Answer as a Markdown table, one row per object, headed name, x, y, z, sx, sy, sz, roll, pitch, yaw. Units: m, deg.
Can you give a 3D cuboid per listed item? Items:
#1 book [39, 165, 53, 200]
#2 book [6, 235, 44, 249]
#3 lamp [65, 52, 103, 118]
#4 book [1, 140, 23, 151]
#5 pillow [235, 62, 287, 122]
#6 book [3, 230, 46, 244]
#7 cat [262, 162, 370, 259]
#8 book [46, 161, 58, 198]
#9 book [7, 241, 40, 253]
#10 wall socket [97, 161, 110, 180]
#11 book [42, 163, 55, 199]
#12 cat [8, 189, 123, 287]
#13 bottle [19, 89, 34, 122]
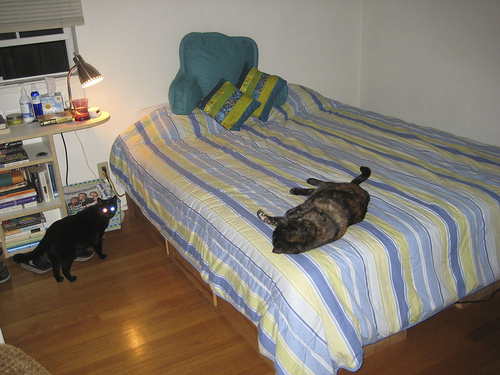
| name | x | y | z | sx | sy | sz | roll | pitch | yaw |
| --- | --- | --- | --- | --- | --- | --- | --- | --- | --- |
| book | -1.575 | -0.053 | 3.222 | 0.032 | 0.293 | 0.224 | -20 | 20 | -31 |
| book | -1.722 | 0.412 | 3.184 | 0.164 | 0.037 | 0.150 | -7 | 5 | 15 |
| lamp | -1.308 | -0.799 | 3.256 | 0.286 | 0.465 | 0.389 | -9 | 23 | -23 |
| book | -1.778 | -0.312 | 3.114 | 0.160 | 0.026 | 0.027 | -22 | 41 | -27 |
| pillow | 0.064 | -0.825 | 3.683 | 0.443 | 0.445 | 0.120 | 29 | -19 | 3 |
| book | -1.705 | 0.374 | 3.181 | 0.145 | 0.034 | 0.147 | -14 | 4 | 36 |
| cat | 0.378 | 0.141 | 2.181 | 0.559 | 0.164 | 0.313 | -32 | 63 | -30 |
| book | -1.528 | -0.074 | 3.228 | 0.029 | 0.288 | 0.218 | -21 | 26 | -26 |
| book | -1.705 | 0.440 | 3.131 | 0.224 | 0.042 | 0.037 | -19 | -8 | -24 |
| wall socket | -1.277 | -0.157 | 3.654 | 0.099 | 0.139 | 0.038 | -8 | 23 | -22 |
| book | -1.557 | -0.065 | 3.230 | 0.033 | 0.306 | 0.233 | -19 | 18 | -22 |
| cat | -1.374 | 0.379 | 3.066 | 0.179 | 0.461 | 0.866 | 30 | 45 | 35 |
| bottle | -1.706 | -0.623 | 3.188 | 0.076 | 0.235 | 0.080 | 1 | 21 | 0 |
